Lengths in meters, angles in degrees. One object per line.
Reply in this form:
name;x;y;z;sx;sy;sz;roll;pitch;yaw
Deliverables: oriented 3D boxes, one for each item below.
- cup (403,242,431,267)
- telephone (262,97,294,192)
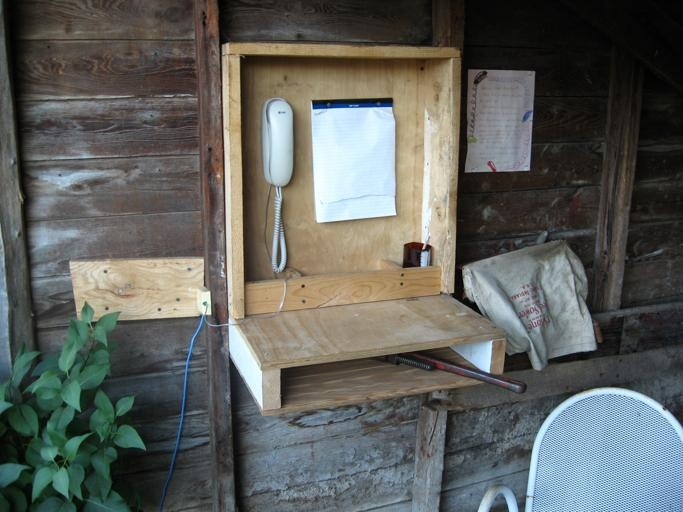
cup;0.265;-0.003;1.931;0.096;0.086;0.089;1;4;0
telephone;-0.206;-0.353;1.711;0.102;0.275;0.055;-4;9;-7
